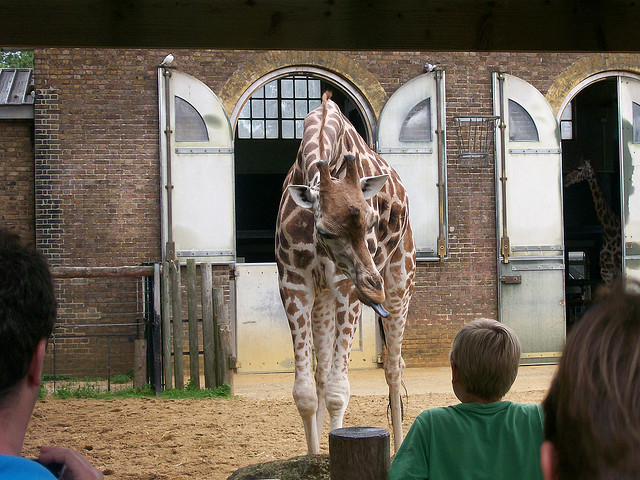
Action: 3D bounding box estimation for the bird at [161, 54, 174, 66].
[{"bbox_3d":[-2.472,-2.988,21.450,0.200,0.169,0.269,1,-3,-14],"label":"bird"}]

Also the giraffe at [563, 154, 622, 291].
[{"bbox_3d":[5.102,-0.482,24.211,0.722,2.437,3.170,0,-3,8],"label":"giraffe"}]

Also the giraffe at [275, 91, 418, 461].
[{"bbox_3d":[0.310,0.370,15.995,1.576,4.572,1.824,0,-2,3],"label":"giraffe"}]
